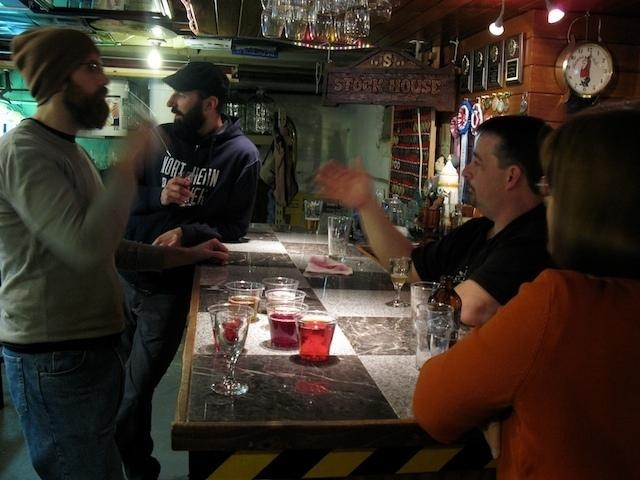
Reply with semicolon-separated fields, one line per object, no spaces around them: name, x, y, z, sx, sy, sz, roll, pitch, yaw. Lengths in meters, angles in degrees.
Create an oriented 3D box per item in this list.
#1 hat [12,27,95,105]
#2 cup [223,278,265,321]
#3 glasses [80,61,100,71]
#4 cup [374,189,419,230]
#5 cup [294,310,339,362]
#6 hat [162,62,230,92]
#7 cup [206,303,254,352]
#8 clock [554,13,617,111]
hat;-0.958;-0.654;1.905;0.282;0.258;0.220;-11;14;-17
cup;-0.308;0.234;2.006;0.146;0.139;0.152;2;2;0
glasses;-0.842;-0.639;1.837;0.050;0.016;0.049;4;7;42
cup;0.758;-0.293;4.829;0.504;0.506;0.370;-1;12;2
cup;-0.012;0.316;1.675;0.121;0.150;0.163;3;11;0
hat;-0.804;-1.029;3.291;0.321;0.162;0.231;7;12;-15
cup;-0.280;0.258;1.557;0.153;0.166;0.159;2;-1;0
clock;2.030;-1.363;3.868;0.391;0.727;0.130;2;10;-8
